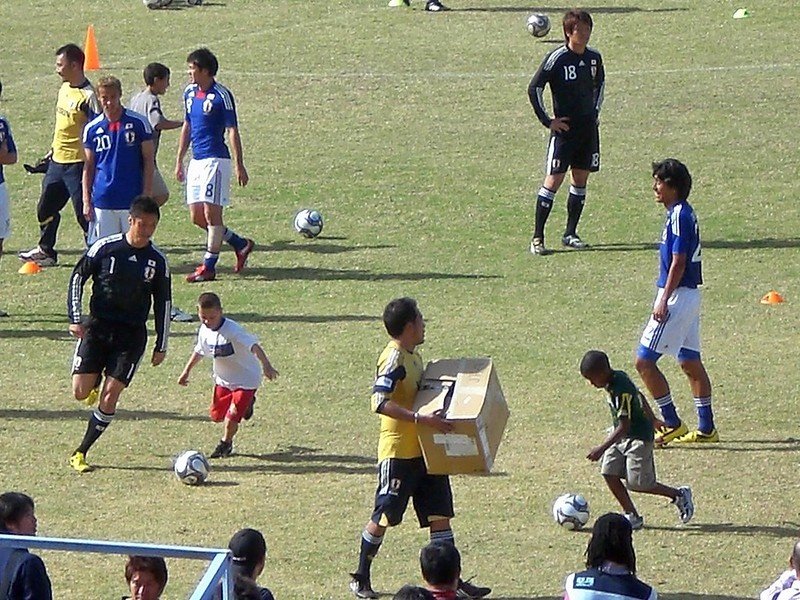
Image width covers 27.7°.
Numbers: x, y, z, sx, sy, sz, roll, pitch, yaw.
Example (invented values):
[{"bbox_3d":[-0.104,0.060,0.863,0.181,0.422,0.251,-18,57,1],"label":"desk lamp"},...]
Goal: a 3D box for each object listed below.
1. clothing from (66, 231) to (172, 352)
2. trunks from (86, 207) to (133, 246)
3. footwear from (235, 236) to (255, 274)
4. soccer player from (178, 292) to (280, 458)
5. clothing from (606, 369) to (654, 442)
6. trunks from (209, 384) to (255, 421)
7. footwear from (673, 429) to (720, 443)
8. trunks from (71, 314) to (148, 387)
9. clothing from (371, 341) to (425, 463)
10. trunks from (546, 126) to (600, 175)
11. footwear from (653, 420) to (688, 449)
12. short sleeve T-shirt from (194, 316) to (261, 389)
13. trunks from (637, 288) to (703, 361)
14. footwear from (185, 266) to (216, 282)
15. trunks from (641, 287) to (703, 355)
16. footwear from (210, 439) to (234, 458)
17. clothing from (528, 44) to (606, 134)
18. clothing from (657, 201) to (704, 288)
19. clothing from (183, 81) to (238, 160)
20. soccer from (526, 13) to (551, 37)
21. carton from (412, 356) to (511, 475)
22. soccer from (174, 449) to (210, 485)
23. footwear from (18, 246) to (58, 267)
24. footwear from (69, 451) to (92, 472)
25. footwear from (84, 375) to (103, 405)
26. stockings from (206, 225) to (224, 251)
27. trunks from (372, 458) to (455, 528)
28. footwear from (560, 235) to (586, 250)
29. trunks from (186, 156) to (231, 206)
[{"bbox_3d":[-2.995,-0.046,17.261,1.180,1.334,0.634,11,2,-15],"label":"clothing"},{"bbox_3d":[-3.368,-0.875,18.805,0.412,0.558,0.312,4,15,-18],"label":"trunks"},{"bbox_3d":[-2.131,-0.610,21.981,0.259,0.540,0.190,5,28,-18],"label":"footwear"},{"bbox_3d":[-1.873,0.764,17.281,0.972,1.822,0.970,-3,13,-5],"label":"soccer player"},{"bbox_3d":[2.254,1.056,15.965,0.345,0.729,0.648,-33,2,4],"label":"clothing"},{"bbox_3d":[-1.802,1.061,17.311,0.490,0.442,0.297,1,-9,-1],"label":"trunks"},{"bbox_3d":[3.140,1.452,17.140,0.452,0.176,0.177,2,1,2],"label":"footwear"},{"bbox_3d":[-3.072,0.511,16.942,0.537,0.738,0.433,18,-15,0],"label":"trunks"},{"bbox_3d":[0.001,0.928,15.127,0.402,1.144,1.276,2,8,18],"label":"clothing"},{"bbox_3d":[2.293,-2.106,21.769,0.813,0.785,0.479,-4,7,-27],"label":"trunks"},{"bbox_3d":[2.833,1.411,17.013,0.484,0.180,0.176,-28,0,-11],"label":"footwear"},{"bbox_3d":[-1.881,0.592,17.417,0.728,0.683,0.372,-1,36,12],"label":"short sleeve T-shirt"},{"bbox_3d":[2.909,0.132,17.180,0.521,0.871,0.906,9,16,30],"label":"trunks"},{"bbox_3d":[-2.658,-0.352,21.444,0.329,0.159,0.193,2,7,12],"label":"footwear"},{"bbox_3d":[2.917,0.147,17.144,0.475,0.794,0.823,16,20,42],"label":"trunks"},{"bbox_3d":[-1.912,1.582,17.203,0.304,0.140,0.113,-5,10,-36],"label":"footwear"},{"bbox_3d":[2.320,-2.876,21.625,1.236,1.138,0.450,-9,21,-27],"label":"clothing"},{"bbox_3d":[2.953,-0.556,16.939,0.447,0.923,0.389,5,13,10],"label":"clothing"},{"bbox_3d":[-2.498,-2.324,21.051,0.772,0.995,0.293,9,14,21],"label":"clothing"},{"bbox_3d":[2.689,-5.328,31.361,0.414,0.438,0.424,8,16,31],"label":"soccer"},{"bbox_3d":[0.544,1.028,15.101,0.697,0.878,0.963,-2,45,15],"label":"carton"},{"bbox_3d":[-2.172,1.722,16.670,0.327,0.332,0.345,-4,-22,-19],"label":"soccer"},{"bbox_3d":[-4.898,-0.579,22.056,0.564,0.293,0.211,13,10,-9],"label":"footwear"},{"bbox_3d":[-3.341,1.688,16.953,0.112,0.147,0.326,-14,17,-40],"label":"footwear"},{"bbox_3d":[-3.258,0.959,17.162,0.113,0.328,0.232,22,19,12],"label":"footwear"},{"bbox_3d":[-2.456,-0.828,21.347,0.210,0.359,0.258,9,17,22],"label":"stockings"},{"bbox_3d":[0.127,1.779,14.986,0.786,0.746,0.322,0,0,-16],"label":"trunks"},{"bbox_3d":[2.381,-0.799,22.268,0.160,0.124,0.295,-20,24,-41],"label":"footwear"},{"bbox_3d":[-2.524,-1.569,21.256,0.670,0.652,0.420,-1,-5,37],"label":"trunks"}]
